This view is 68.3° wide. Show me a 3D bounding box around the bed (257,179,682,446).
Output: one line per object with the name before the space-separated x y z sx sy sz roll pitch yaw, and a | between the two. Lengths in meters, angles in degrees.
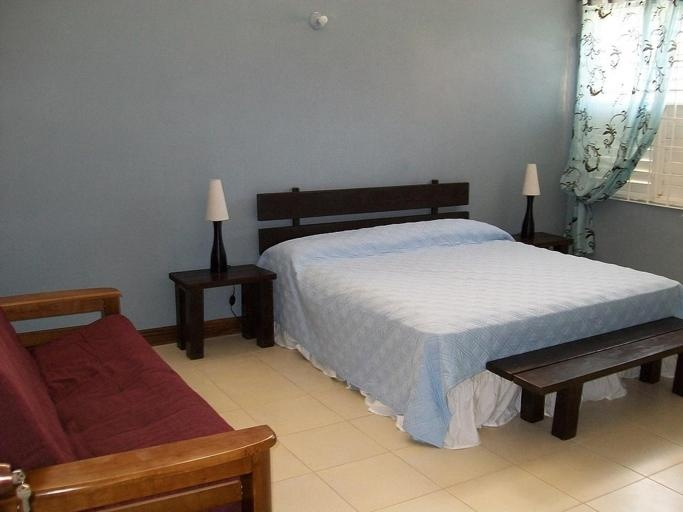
bed | 0.447 0.240 3.722 2.212 1.078 2.140 -9 15 -30

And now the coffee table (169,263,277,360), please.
coffee table | -0.921 0.285 4.165 1.008 0.850 0.664 -7 15 -34

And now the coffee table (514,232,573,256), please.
coffee table | 2.135 -0.161 5.292 0.369 0.357 0.364 -12 20 -32

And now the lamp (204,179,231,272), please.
lamp | -0.998 -0.238 4.016 0.167 0.730 0.218 -10 15 -27
